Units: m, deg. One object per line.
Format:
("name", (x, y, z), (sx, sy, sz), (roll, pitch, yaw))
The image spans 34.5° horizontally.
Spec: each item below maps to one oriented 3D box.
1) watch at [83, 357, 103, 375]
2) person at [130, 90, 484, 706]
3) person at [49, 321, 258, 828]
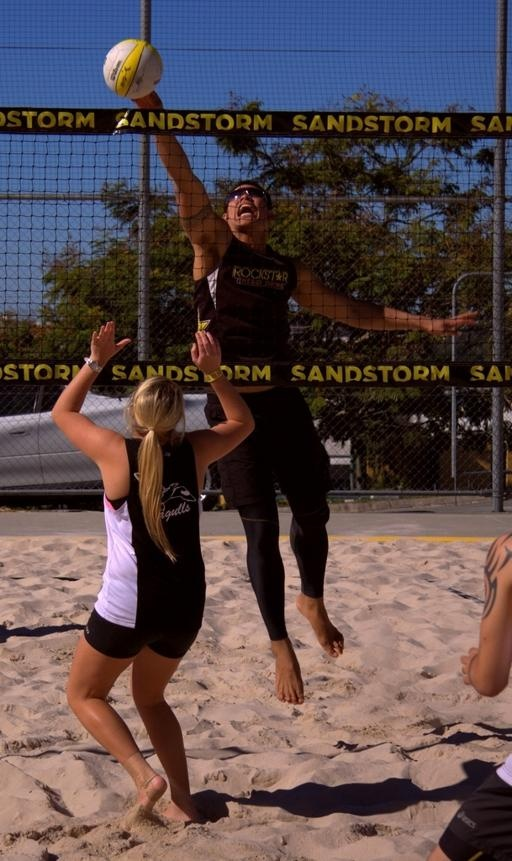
("watch", (-0.414, -0.165, 2.139), (0.020, 0.053, 0.040), (-48, 18, -13))
("person", (0.139, -0.112, 2.991), (1.357, 2.102, 0.682), (-2, -7, -27))
("person", (-0.239, 0.343, 1.981), (0.481, 1.174, 0.326), (2, -10, -23))
